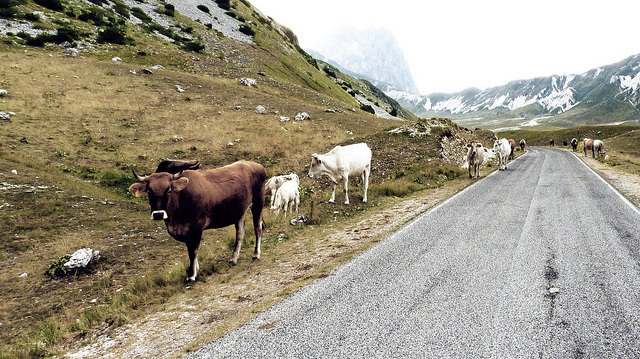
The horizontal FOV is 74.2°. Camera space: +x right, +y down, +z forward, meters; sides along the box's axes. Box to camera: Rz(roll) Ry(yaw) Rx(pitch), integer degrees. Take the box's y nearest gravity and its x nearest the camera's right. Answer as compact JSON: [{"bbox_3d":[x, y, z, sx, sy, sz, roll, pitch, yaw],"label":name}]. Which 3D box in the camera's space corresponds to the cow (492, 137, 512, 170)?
[{"bbox_3d":[21.289,-3.038,49.220,1.577,3.384,4.287,1,7,22],"label":"cow"}]

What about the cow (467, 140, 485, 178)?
[{"bbox_3d":[16.716,-2.141,45.422,1.371,3.724,2.234,1,8,23],"label":"cow"}]

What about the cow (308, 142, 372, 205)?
[{"bbox_3d":[2.688,-1.246,43.758,10.000,6.526,3.030,0,-1,-28],"label":"cow"}]
